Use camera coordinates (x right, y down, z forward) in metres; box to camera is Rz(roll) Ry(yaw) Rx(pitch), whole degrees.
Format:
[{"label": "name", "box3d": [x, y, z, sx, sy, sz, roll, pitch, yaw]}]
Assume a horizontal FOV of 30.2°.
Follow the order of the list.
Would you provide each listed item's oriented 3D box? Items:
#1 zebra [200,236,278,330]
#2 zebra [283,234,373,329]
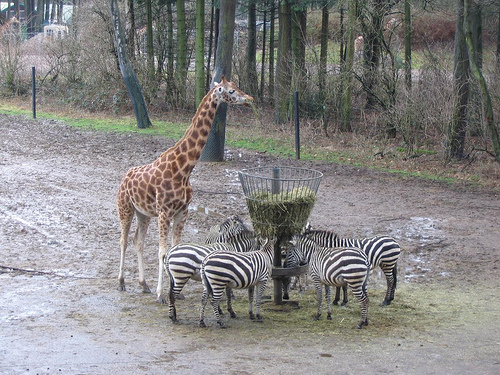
[{"label": "zebra", "box3d": [-0.262, 2.315, 22.339, 1.798, 1.755, 0.623, 2, -5, -37]}, {"label": "zebra", "box3d": [1.873, 2.265, 22.732, 2.396, 2.194, 0.763, 2, 1, 34]}]
